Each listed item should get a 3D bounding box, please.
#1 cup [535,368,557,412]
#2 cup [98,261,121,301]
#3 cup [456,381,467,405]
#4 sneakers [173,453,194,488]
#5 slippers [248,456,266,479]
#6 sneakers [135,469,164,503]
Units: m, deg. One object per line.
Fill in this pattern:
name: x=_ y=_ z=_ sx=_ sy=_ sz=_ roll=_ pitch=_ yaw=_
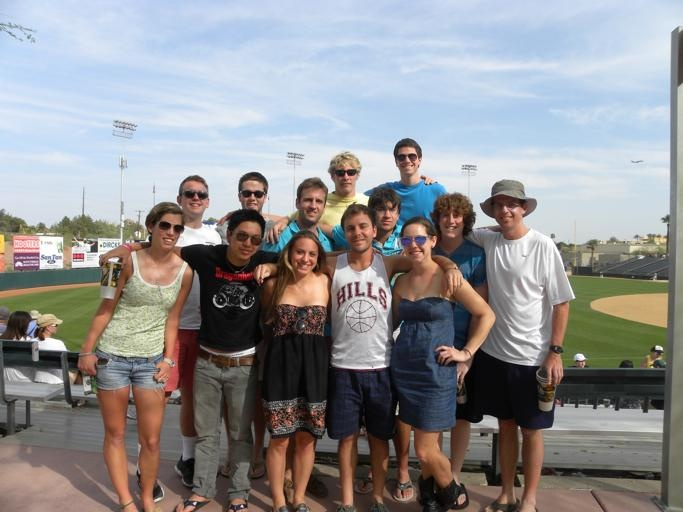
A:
cup: x=2.033 y=1.326 z=5.556 sx=0.186 sy=0.429 sz=0.155 roll=2 pitch=2 yaw=10
cup: x=-2.220 y=0.216 z=5.425 sx=0.172 sy=0.389 sz=0.088 roll=1 pitch=2 yaw=-21
cup: x=1.254 y=1.431 z=5.839 sx=0.074 sy=0.242 sz=0.159 roll=3 pitch=2 yaw=37
sneakers: x=-1.668 y=2.305 z=6.018 sx=0.159 sy=0.154 sz=0.365 roll=16 pitch=1 yaw=-39
slippers: x=-0.918 y=2.359 z=6.242 sx=0.163 sy=0.178 sz=0.200 roll=1 pitch=2 yaw=-8
sneakers: x=-1.988 y=2.376 z=5.815 sx=0.184 sy=0.190 sz=0.504 roll=10 pitch=7 yaw=-45
